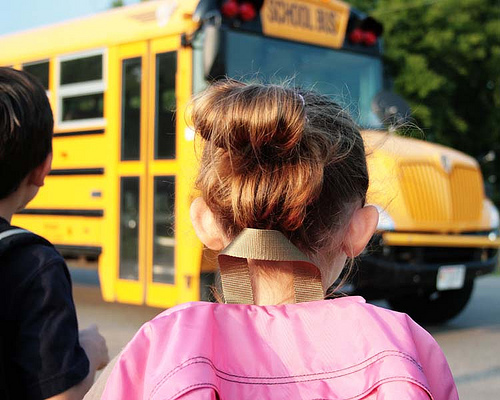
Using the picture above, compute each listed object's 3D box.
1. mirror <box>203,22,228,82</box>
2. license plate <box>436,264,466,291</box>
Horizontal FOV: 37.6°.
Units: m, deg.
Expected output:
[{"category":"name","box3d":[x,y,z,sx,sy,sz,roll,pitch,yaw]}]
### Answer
[{"category":"mirror","box3d":[-0.264,-1.094,5.515,0.185,0.369,0.314,0,30,-4]},{"category":"license plate","box3d":[1.617,0.627,5.897,0.175,0.190,0.015,-4,-1,18]}]
